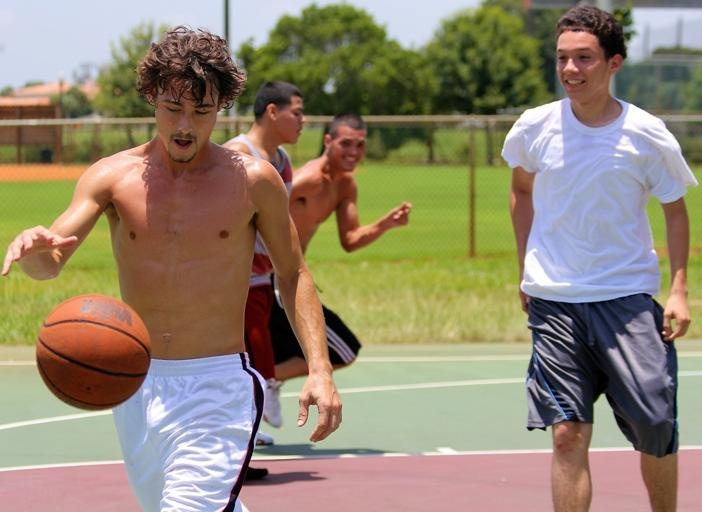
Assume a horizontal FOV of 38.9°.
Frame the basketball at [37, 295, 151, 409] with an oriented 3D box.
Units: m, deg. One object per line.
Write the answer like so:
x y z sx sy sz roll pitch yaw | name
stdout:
-1.049 0.397 4.060 0.452 0.467 0.189 -2 8 -11 | basketball
